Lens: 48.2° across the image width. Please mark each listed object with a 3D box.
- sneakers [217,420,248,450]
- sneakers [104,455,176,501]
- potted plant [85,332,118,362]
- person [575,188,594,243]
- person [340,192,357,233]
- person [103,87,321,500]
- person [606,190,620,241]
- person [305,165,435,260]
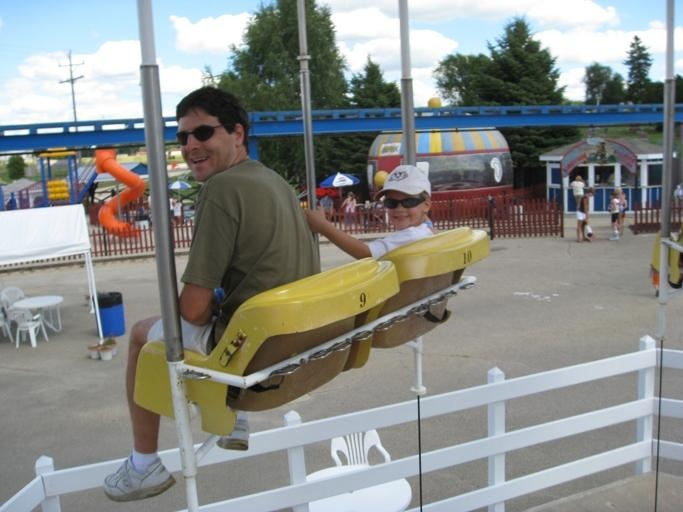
[{"bbox_3d":[-0.776,1.291,5.487,0.202,0.219,0.214,1,-2,2],"label":"sneakers"},{"bbox_3d":[-1.487,1.569,5.487,0.506,0.304,0.237,-8,21,1],"label":"sneakers"},{"bbox_3d":[-3.972,1.511,12.671,0.336,0.169,0.428,-5,10,-30],"label":"potted plant"},{"bbox_3d":[7.425,-1.197,23.397,0.604,0.609,1.904,-15,-22,9],"label":"person"},{"bbox_3d":[0.306,-1.570,27.565,0.453,1.517,0.422,3,-19,-3],"label":"person"},{"bbox_3d":[-0.897,0.239,5.470,1.513,2.842,0.726,-5,9,-4],"label":"person"},{"bbox_3d":[8.376,-1.227,23.308,0.289,1.388,1.682,-1,10,20],"label":"person"},{"bbox_3d":[0.150,-0.306,6.580,1.477,0.642,1.162,-11,1,-20],"label":"person"}]
